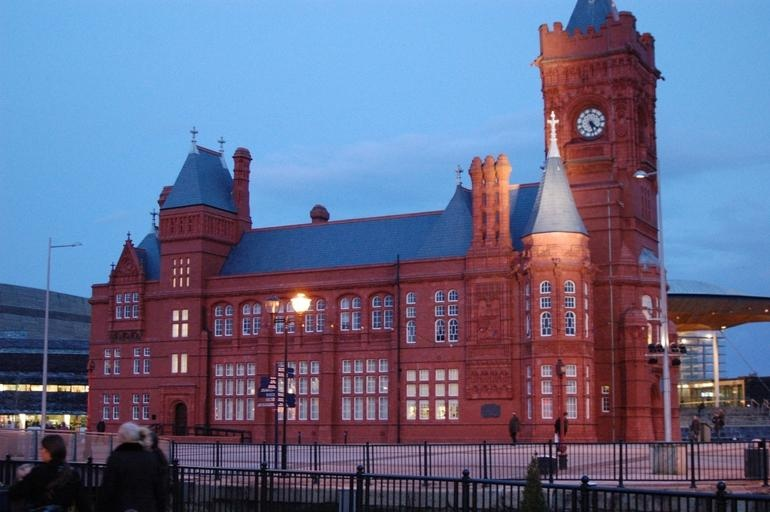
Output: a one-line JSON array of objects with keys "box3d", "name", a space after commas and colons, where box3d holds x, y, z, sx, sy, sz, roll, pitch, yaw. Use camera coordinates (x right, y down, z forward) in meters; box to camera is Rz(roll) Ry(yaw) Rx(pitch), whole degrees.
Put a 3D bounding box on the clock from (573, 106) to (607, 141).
[{"box3d": [16.586, -10.751, 123.353, 2.296, 2.203, 0.176, -23, -14, 14], "name": "clock"}]
